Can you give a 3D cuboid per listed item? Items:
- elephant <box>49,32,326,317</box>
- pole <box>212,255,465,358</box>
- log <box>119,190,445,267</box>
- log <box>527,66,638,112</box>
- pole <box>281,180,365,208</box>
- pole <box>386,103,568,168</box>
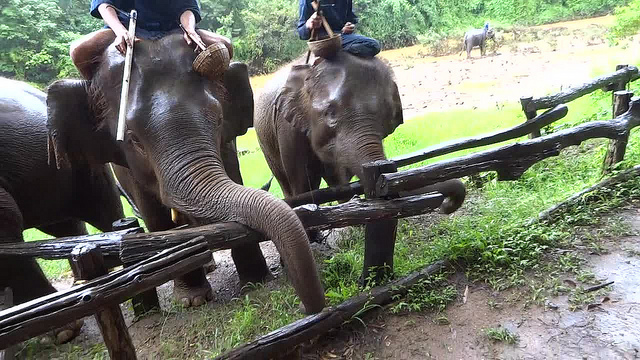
[{"bbox_3d":[-1.200,0.136,3.766,2.312,2.767,1.426,14,29,41],"label":"elephant"},{"bbox_3d":[0.257,1.192,3.803,2.879,0.197,0.299,-15,-1,-30],"label":"pole"},{"bbox_3d":[-0.150,0.329,3.659,3.298,0.372,0.372,-8,55,-8],"label":"log"},{"bbox_3d":[3.624,-1.292,5.680,1.657,0.182,0.227,-21,37,-7],"label":"log"},{"bbox_3d":[0.045,0.149,4.486,0.503,0.246,0.147,-17,17,-1],"label":"pole"},{"bbox_3d":[1.791,-0.401,5.199,1.846,0.159,0.236,-13,43,31],"label":"pole"}]
